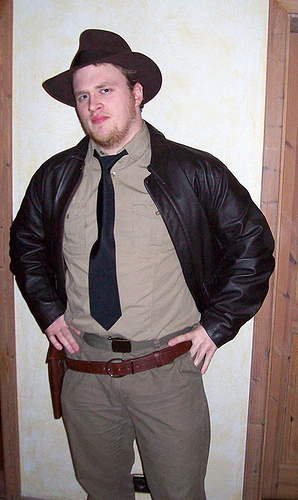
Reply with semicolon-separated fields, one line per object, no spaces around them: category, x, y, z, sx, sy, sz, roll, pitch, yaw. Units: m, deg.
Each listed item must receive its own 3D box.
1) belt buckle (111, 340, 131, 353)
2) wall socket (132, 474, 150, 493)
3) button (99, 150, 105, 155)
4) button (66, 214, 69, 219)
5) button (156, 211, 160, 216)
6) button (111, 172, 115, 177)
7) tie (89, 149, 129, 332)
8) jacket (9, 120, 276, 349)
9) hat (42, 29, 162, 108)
belt buckle;-0.104;0.355;1.771;0.073;0.047;0.014;1;4;14
wall socket;-0.041;1.101;2.249;0.073;0.068;0.043;0;4;5
button;-0.187;-0.384;1.866;0.016;0.015;0.004;1;-2;15
button;-0.320;-0.133;1.860;0.010;0.014;0.003;6;5;18
button;0.031;-0.140;1.778;0.014;0.017;0.004;-1;-3;4
button;-0.138;-0.288;1.804;0.017;0.022;0.007;0;0;-9
tie;-0.152;-0.044;1.788;0.120;0.671;0.126;1;4;11
jacket;0.003;-0.068;1.859;0.997;0.723;0.460;5;11;9
hat;-0.150;-0.777;1.960;0.522;0.193;0.417;6;3;2
